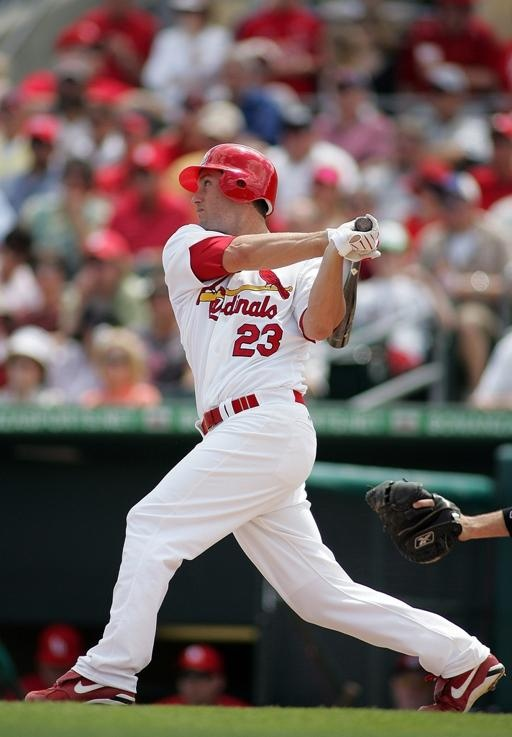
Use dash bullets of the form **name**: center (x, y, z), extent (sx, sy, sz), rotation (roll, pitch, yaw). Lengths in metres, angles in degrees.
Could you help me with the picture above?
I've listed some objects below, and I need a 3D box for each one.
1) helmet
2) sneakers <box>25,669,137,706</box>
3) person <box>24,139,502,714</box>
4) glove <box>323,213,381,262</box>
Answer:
- **helmet**: center (-0.060, -0.555, 3.036), extent (0.303, 0.190, 0.158), rotation (16, 72, 5)
- **sneakers**: center (-0.390, 0.751, 2.539), extent (0.299, 0.090, 0.094), rotation (6, 77, 1)
- **person**: center (0.101, 0.298, 2.691), extent (1.012, 1.125, 1.237), rotation (7, 45, 13)
- **glove**: center (0.237, -0.305, 2.633), extent (0.125, 0.152, 0.119), rotation (-3, 45, 3)
